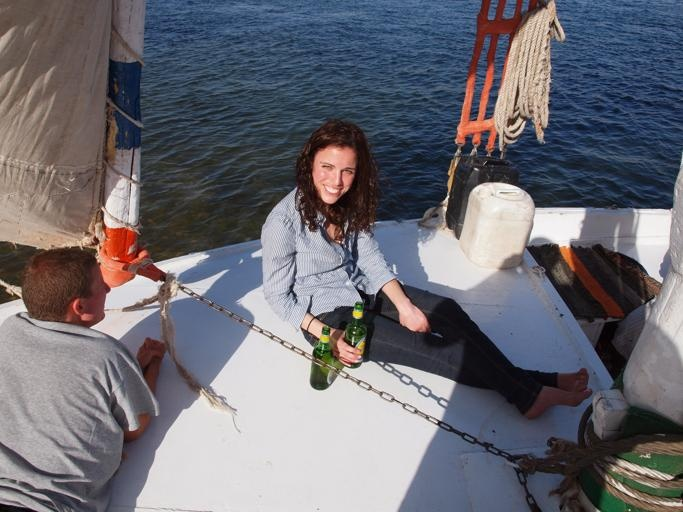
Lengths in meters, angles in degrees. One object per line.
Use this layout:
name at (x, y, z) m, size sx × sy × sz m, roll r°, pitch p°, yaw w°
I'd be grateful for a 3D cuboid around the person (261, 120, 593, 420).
person at (0.462, 0.055, 3.175) m, size 1.983 × 1.447 × 0.867 m, roll 16°, pitch 30°, yaw 27°
